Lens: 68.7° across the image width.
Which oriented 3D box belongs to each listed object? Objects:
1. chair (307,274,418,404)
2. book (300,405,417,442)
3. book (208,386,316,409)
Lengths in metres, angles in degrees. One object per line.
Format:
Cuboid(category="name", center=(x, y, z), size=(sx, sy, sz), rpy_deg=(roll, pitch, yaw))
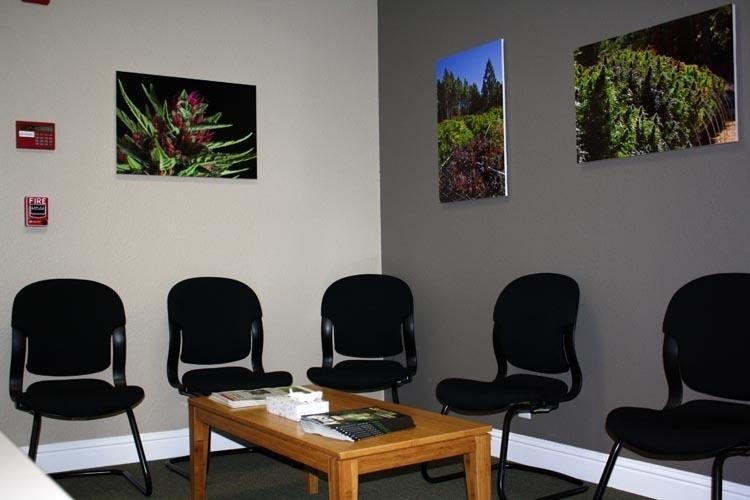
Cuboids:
Cuboid(category="chair", center=(-0.047, 0.667, 4.274), size=(0.838, 1.275, 0.929), rpy_deg=(-1, -17, 3))
Cuboid(category="book", center=(-0.085, 0.824, 2.645), size=(0.474, 0.085, 0.362), rpy_deg=(-5, 3, -33))
Cuboid(category="book", center=(-0.611, 0.813, 3.039), size=(0.284, 0.033, 0.261), rpy_deg=(3, -3, -41))
